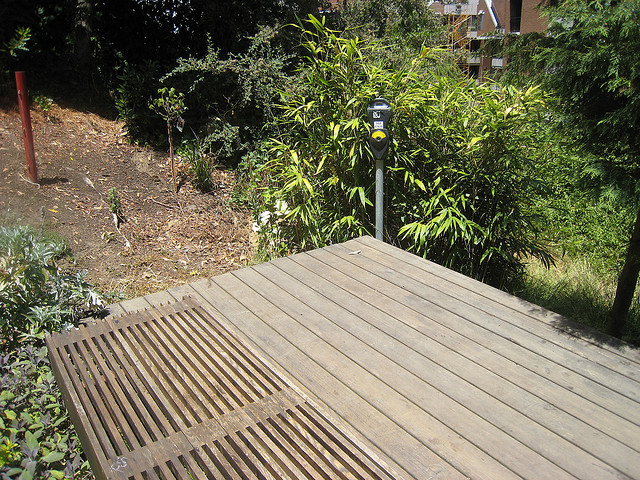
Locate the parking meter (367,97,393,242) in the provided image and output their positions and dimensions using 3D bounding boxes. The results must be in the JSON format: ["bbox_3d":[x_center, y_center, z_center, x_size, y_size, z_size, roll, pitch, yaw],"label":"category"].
[{"bbox_3d":[0.454,-0.387,3.822,0.206,1.400,0.190,0,-10,-3],"label":"parking meter"}]

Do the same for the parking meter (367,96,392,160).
[{"bbox_3d":[0.445,-0.847,3.841,0.175,0.425,0.191,5,27,12],"label":"parking meter"}]
